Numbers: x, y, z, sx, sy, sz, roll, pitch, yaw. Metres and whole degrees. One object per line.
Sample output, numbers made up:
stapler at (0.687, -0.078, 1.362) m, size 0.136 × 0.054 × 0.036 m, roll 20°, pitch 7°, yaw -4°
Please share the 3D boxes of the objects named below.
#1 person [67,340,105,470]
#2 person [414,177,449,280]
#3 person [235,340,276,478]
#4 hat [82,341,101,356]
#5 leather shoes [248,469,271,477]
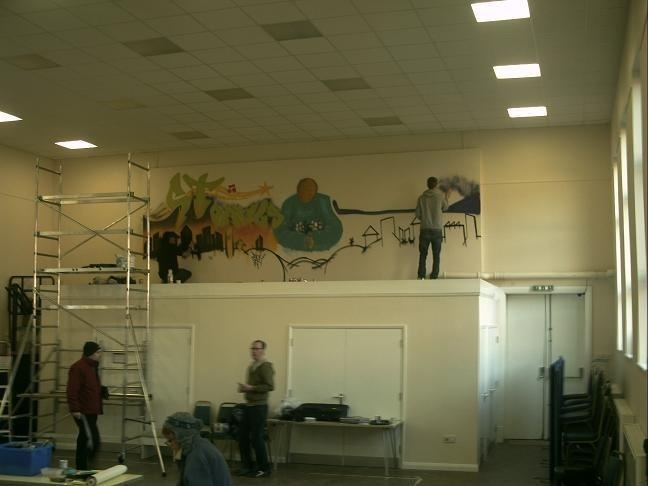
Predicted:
person at (-3.942, 2.635, 10.483) m, size 0.542 × 1.988 × 0.370 m, roll 4°, pitch -11°, yaw -27°
person at (2.262, -0.360, 13.367) m, size 0.637 × 2.320 × 1.146 m, roll -2°, pitch -10°, yaw 10°
person at (-1.188, 2.836, 11.091) m, size 0.566 × 2.237 × 1.144 m, roll 0°, pitch -10°, yaw -7°
hat at (-3.865, 1.737, 10.693) m, size 0.301 × 0.276 × 0.267 m, roll 9°, pitch -6°, yaw -41°
leather shoes at (-1.084, 3.891, 10.837) m, size 0.249 × 0.090 × 0.145 m, roll 15°, pitch -9°, yaw -15°
